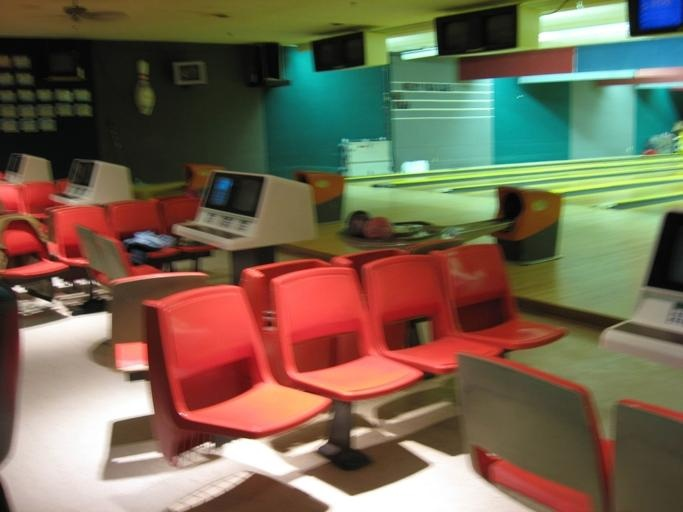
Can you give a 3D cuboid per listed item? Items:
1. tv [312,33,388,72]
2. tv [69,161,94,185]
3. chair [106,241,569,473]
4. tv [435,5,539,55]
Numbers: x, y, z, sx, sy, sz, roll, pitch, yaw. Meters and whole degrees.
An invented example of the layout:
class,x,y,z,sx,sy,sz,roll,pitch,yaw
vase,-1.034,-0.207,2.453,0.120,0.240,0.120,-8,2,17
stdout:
class,x,y,z,sx,sy,sz,roll,pitch,yaw
tv,0.074,-2.318,5.695,0.951,0.389,0.363,6,20,34
tv,-2.316,-0.741,4.473,0.300,0.239,0.070,8,-6,39
chair,0.274,0.374,2.308,1.279,0.774,0.805,-12,17,-27
tv,1.249,-2.010,4.476,0.182,0.407,0.978,-22,22,-40
